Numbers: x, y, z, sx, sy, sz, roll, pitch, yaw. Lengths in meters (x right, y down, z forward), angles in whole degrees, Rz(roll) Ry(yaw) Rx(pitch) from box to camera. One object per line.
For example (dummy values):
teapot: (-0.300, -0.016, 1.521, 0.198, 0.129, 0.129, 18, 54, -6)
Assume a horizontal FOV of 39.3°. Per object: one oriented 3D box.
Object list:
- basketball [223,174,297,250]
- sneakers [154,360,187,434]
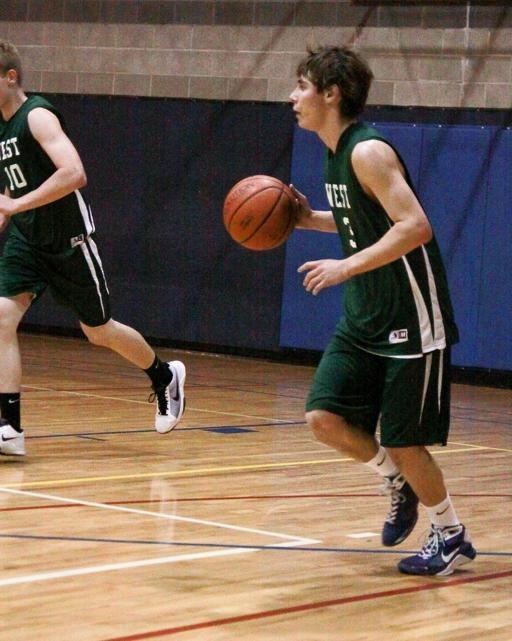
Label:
basketball: (0.004, -0.340, 2.226, 0.182, 0.240, 0.248, 2, 4, -26)
sneakers: (-0.442, 0.395, 3.631, 0.141, 0.373, 0.189, -6, -19, 45)
